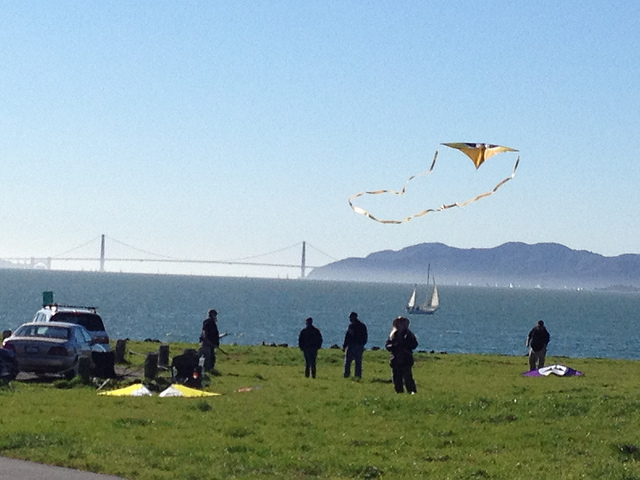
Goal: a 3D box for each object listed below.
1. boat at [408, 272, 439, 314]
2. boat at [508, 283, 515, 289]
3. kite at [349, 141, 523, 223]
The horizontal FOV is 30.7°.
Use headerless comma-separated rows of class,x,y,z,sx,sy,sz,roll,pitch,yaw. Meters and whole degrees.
boat,14.995,7.820,165.953,4.620,7.226,2.247,2,36,8
boat,101.716,24.796,613.068,0.985,4.197,4.099,14,-19,-43
kite,1.935,-0.992,18.767,1.946,0.687,3.714,6,15,34
